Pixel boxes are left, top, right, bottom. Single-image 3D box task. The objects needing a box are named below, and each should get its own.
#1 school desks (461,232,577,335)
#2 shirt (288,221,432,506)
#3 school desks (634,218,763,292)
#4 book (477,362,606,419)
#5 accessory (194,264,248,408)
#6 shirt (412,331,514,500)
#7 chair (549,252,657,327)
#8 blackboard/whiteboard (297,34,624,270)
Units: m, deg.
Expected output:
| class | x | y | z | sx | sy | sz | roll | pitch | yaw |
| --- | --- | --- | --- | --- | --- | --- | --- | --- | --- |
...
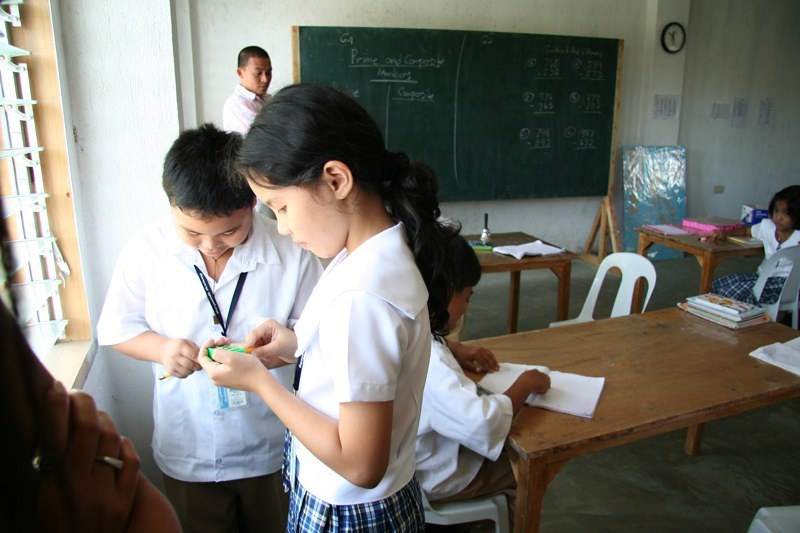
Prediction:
| class | x | y | z | sx | sy | sz | roll | pitch | yaw |
| --- | --- | --- | --- | --- | --- | --- | --- | --- | --- |
| school desks | 0.859 | 0.204 | 4.016 | 0.700 | 0.696 | 0.719 | -3 | 17 | -4 |
| shirt | -0.097 | 0.245 | 1.426 | 0.321 | 0.638 | 0.653 | 3 | 17 | 2 |
| school desks | 2.140 | -0.175 | 4.131 | 0.600 | 0.486 | 0.636 | -7 | 25 | -19 |
| book | 0.526 | 0.454 | 2.182 | 0.483 | 0.052 | 0.338 | 8 | 16 | 37 |
| accessory | -0.550 | 0.225 | 1.824 | 0.156 | 0.451 | 0.025 | 6 | -26 | -44 |
| shirt | 0.211 | 0.536 | 1.949 | 0.299 | 0.471 | 0.504 | -9 | 18 | -10 |
| chair | 1.323 | 0.165 | 3.780 | 0.417 | 0.598 | 0.330 | -12 | 23 | -31 |
| blackboard/whiteboard | 0.572 | -1.091 | 5.340 | 3.074 | 2.091 | 0.712 | -1 | 10 | -9 |
